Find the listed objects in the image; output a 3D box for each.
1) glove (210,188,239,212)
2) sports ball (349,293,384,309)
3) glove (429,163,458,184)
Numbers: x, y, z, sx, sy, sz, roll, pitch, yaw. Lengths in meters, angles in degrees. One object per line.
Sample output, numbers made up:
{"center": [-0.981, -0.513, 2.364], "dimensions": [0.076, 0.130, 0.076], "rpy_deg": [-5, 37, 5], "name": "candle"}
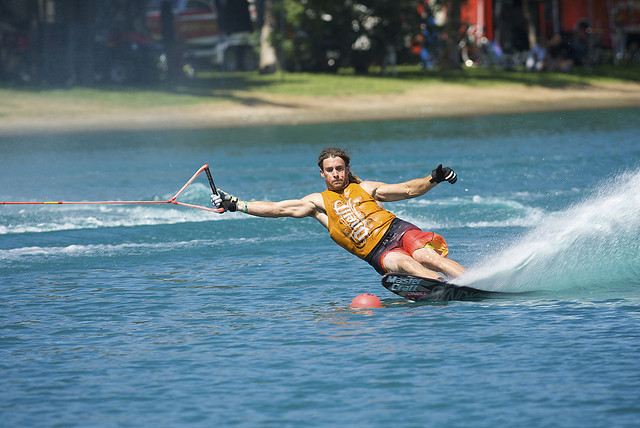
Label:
{"center": [-1.276, -0.178, 13.402], "dimensions": [0.411, 0.143, 0.257], "rpy_deg": [18, 19, 6], "name": "glove"}
{"center": [0.579, 1.129, 13.081], "dimensions": [0.346, 0.204, 0.238], "rpy_deg": [-12, 24, -13], "name": "sports ball"}
{"center": [1.579, -0.534, 13.260], "dimensions": [0.343, 0.247, 0.488], "rpy_deg": [-3, 5, -3], "name": "glove"}
